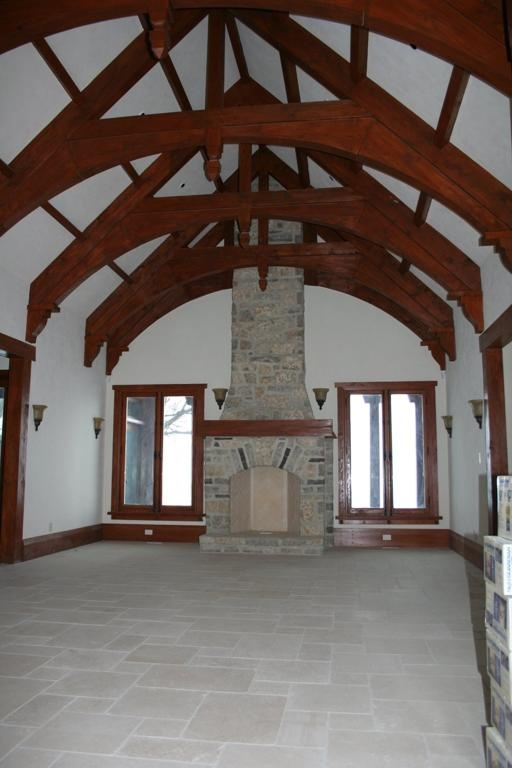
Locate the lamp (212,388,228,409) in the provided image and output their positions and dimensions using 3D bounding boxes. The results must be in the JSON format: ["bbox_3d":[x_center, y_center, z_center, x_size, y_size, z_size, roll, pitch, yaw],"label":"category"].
[{"bbox_3d":[-0.529,0.229,8.264,0.256,0.315,0.265,-1,-9,7],"label":"lamp"}]

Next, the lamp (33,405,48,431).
[{"bbox_3d":[-2.681,0.424,6.819,0.141,0.312,0.407,2,-10,-7],"label":"lamp"}]

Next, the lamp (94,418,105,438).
[{"bbox_3d":[-2.448,0.685,8.473,0.152,0.322,0.477,3,-10,-15],"label":"lamp"}]

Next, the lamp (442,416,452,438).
[{"bbox_3d":[2.714,0.609,7.815,0.125,0.313,0.352,-2,-10,13],"label":"lamp"}]

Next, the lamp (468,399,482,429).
[{"bbox_3d":[2.491,0.336,6.217,0.118,0.333,0.358,-3,-10,19],"label":"lamp"}]

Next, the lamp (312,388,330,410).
[{"bbox_3d":[0.949,0.230,8.069,0.271,0.341,0.262,0,-9,8],"label":"lamp"}]
